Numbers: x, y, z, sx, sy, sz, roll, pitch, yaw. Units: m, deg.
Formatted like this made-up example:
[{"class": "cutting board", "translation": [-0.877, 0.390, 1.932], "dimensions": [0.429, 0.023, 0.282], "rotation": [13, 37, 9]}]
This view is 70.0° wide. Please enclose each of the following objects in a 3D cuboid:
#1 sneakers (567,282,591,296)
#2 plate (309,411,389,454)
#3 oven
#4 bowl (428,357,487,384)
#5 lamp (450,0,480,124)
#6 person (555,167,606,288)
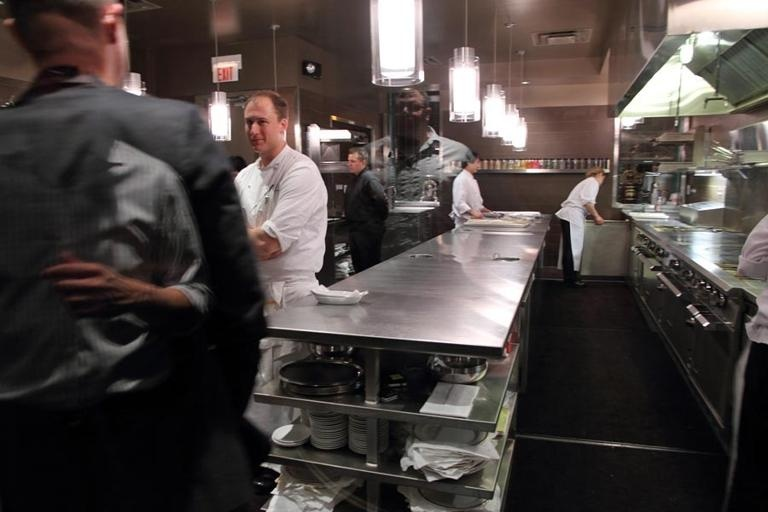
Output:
[{"class": "sneakers", "translation": [2.394, 0.386, 6.880], "dimensions": [0.264, 0.075, 0.702], "rotation": [3, 11, 19]}, {"class": "plate", "translation": [-0.142, 0.622, 2.011], "dimensions": [0.227, 0.077, 0.184], "rotation": [2, -2, -11]}, {"class": "oven", "translation": [1.924, 0.568, 3.562], "dimensions": [0.346, 0.440, 1.225], "rotation": [1, 6, 18]}, {"class": "bowl", "translation": [0.267, 0.419, 2.051], "dimensions": [0.168, 0.061, 0.152], "rotation": [-4, 3, -33]}, {"class": "lamp", "translation": [0.523, -1.137, 3.617], "dimensions": [0.192, 0.450, 0.236], "rotation": [1, 12, 7]}, {"class": "person", "translation": [2.478, -0.392, 7.107], "dimensions": [0.531, 1.491, 0.392], "rotation": [-12, 16, -41]}]
